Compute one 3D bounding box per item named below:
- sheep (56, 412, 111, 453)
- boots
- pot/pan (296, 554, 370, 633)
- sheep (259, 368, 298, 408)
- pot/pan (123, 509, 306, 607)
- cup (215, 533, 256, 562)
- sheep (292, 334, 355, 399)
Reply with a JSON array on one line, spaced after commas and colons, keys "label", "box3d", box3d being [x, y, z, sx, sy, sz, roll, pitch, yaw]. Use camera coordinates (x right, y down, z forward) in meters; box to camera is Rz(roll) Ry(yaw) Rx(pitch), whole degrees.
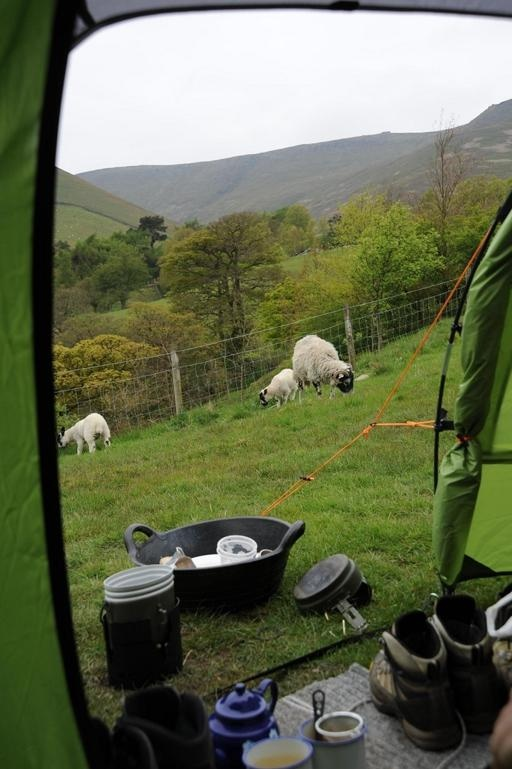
[{"label": "sheep", "box3d": [-2.663, 0.750, 9.673, 0.733, 0.596, 0.528, -4, 5, 26]}, {"label": "boots", "box3d": [0.536, 0.835, 1.859, 0.333, 0.355, 0.344, -7, 5, -9]}, {"label": "pot/pan", "box3d": [0.350, 0.896, 2.793, 0.237, 0.225, 0.462, -10, 6, -41]}, {"label": "sheep", "box3d": [0.349, 0.065, 10.116, 0.666, 0.554, 0.419, -5, 5, 7]}, {"label": "pot/pan", "box3d": [-0.202, 0.817, 2.961, 0.770, 0.473, 0.663, -7, 5, -13]}, {"label": "cup", "box3d": [-0.085, 0.762, 2.939, 0.120, 0.052, 0.117, -2, 8, 0]}, {"label": "sheep", "box3d": [1.027, -0.338, 9.480, 0.507, 0.802, 1.465, -14, 25, -27]}]
